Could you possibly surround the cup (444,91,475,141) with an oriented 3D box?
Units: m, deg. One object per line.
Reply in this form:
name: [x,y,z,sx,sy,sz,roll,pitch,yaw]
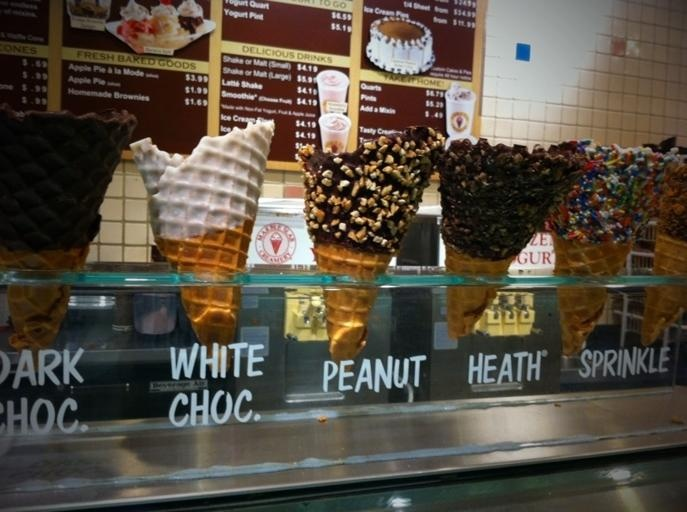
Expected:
cup: [0.586,-0.659,2.929,0.155,0.234,0.158,-1,3,0]
